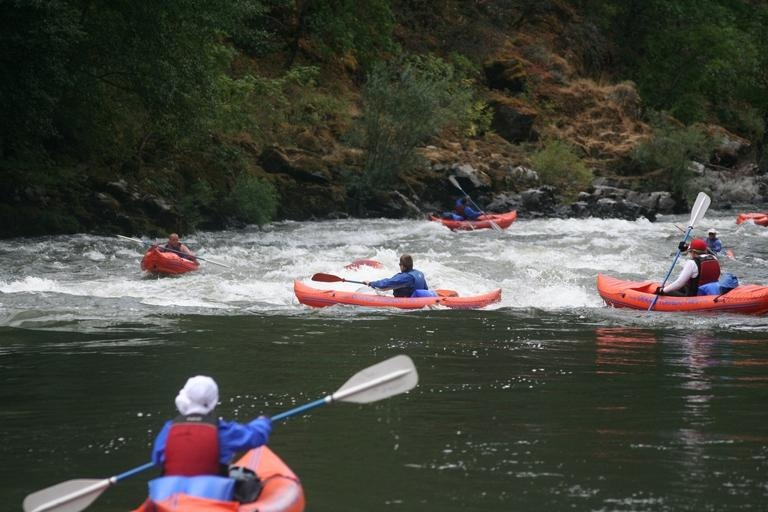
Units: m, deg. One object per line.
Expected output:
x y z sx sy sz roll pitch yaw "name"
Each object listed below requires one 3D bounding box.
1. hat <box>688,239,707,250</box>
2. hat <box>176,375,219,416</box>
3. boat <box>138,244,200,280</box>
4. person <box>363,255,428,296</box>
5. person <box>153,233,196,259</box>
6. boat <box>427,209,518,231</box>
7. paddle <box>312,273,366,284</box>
7.606 -0.287 24.024 0.396 0.280 0.386 5 17 14 "hat"
-3.168 2.436 17.333 0.732 0.581 0.494 11 29 -1 "hat"
-5.733 0.043 26.804 0.726 0.954 1.398 15 22 37 "boat"
0.418 0.492 24.185 1.358 1.008 0.514 -1 19 -5 "person"
-5.707 -0.238 27.690 0.946 0.333 1.077 12 -8 6 "person"
3.352 -1.312 36.329 2.989 0.638 1.650 -3 16 -12 "boat"
-1.194 0.594 25.699 1.947 0.241 0.092 6 4 28 "paddle"
